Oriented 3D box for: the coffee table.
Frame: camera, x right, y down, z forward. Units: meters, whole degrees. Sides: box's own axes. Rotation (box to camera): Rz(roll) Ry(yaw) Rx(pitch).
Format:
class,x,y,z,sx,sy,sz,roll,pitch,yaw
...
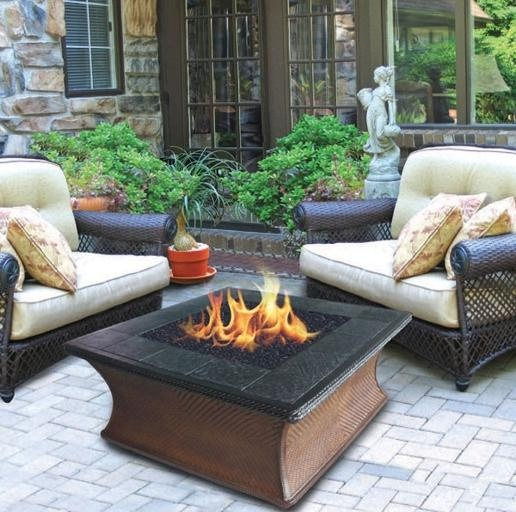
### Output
class,x,y,z,sx,sy,sz,roll,pitch,yaw
coffee table,0.002,0.477,2.171,1.019,0.480,1.009,6,14,36
